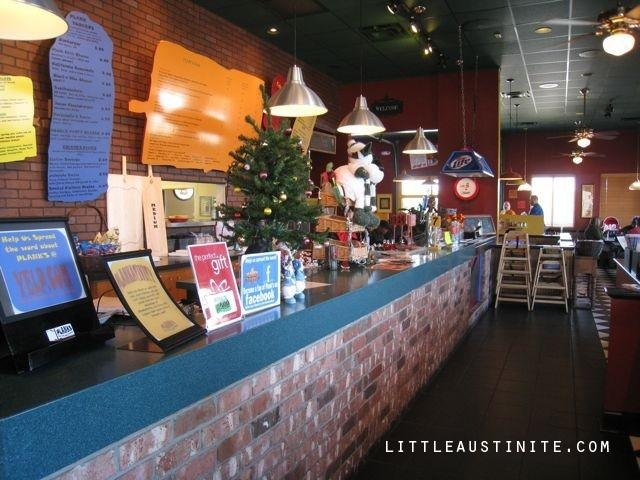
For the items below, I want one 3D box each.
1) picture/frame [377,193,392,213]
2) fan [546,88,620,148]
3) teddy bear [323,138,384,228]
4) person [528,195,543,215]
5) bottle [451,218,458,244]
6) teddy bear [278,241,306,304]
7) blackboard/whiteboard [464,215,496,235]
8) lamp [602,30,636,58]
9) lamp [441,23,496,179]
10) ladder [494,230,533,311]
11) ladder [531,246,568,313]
[{"bbox_3d":[1.820,-1.042,12.822,0.456,0.470,0.119,1,-5,16],"label":"picture/frame"},{"bbox_3d":[5.511,-2.578,9.554,1.082,1.204,1.037,2,7,43],"label":"fan"},{"bbox_3d":[0.248,-0.395,3.355,0.434,0.619,0.177,-4,7,-36],"label":"teddy bear"},{"bbox_3d":[5.692,-0.929,12.063,0.295,0.467,0.866,2,40,30],"label":"person"},{"bbox_3d":[1.767,-0.114,5.996,0.100,0.296,0.432,2,6,17],"label":"bottle"},{"bbox_3d":[-0.145,0.162,2.384,0.134,0.288,0.262,0,5,-5],"label":"teddy bear"},{"bbox_3d":[2.713,-0.264,7.898,0.444,0.344,0.833,4,6,31],"label":"blackboard/whiteboard"},{"bbox_3d":[2.722,-1.817,4.183,0.218,0.202,0.278,4,7,37],"label":"lamp"},{"bbox_3d":[2.355,-2.024,7.192,0.708,2.024,1.747,2,6,18],"label":"lamp"},{"bbox_3d":[3.304,0.478,7.764,0.555,1.245,0.826,3,6,24],"label":"ladder"},{"bbox_3d":[3.796,0.619,7.539,0.545,1.013,0.808,3,6,28],"label":"ladder"}]
